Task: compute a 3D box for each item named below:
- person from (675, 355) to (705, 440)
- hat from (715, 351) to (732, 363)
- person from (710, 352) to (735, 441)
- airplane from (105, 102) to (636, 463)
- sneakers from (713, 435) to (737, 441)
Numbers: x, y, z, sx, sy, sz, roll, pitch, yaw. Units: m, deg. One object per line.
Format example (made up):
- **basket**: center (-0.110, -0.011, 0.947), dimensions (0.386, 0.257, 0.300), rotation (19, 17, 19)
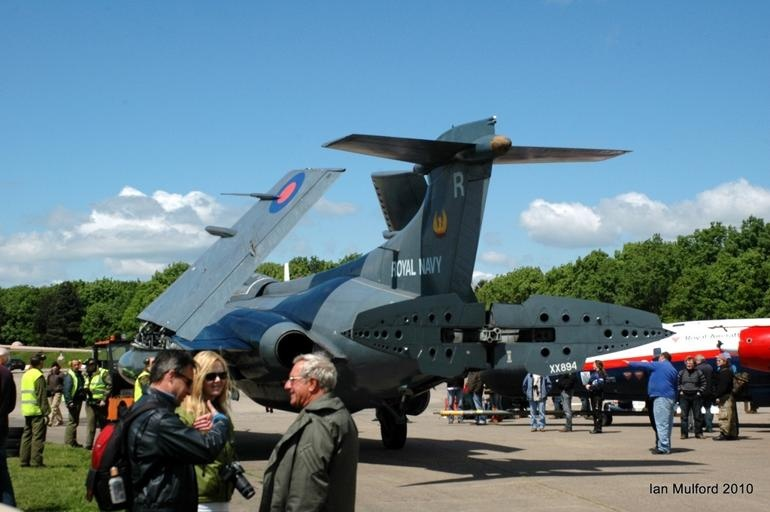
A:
- **person**: center (8.698, 4.003, 27.876), dimensions (0.733, 2.283, 1.185), rotation (-1, -8, 15)
- **hat**: center (9.763, 2.908, 28.304), dimensions (0.503, 0.185, 0.646), rotation (-3, -1, 13)
- **person**: center (9.574, 3.952, 27.631), dimensions (0.543, 2.328, 0.728), rotation (-1, -9, 18)
- **airplane**: center (-1.986, 0.694, 24.549), dimensions (9.346, 3.914, 10.045), rotation (1, -1, -34)
- **sneakers**: center (9.529, 5.076, 27.539), dimensions (0.679, 0.213, 0.205), rotation (3, -5, 4)
